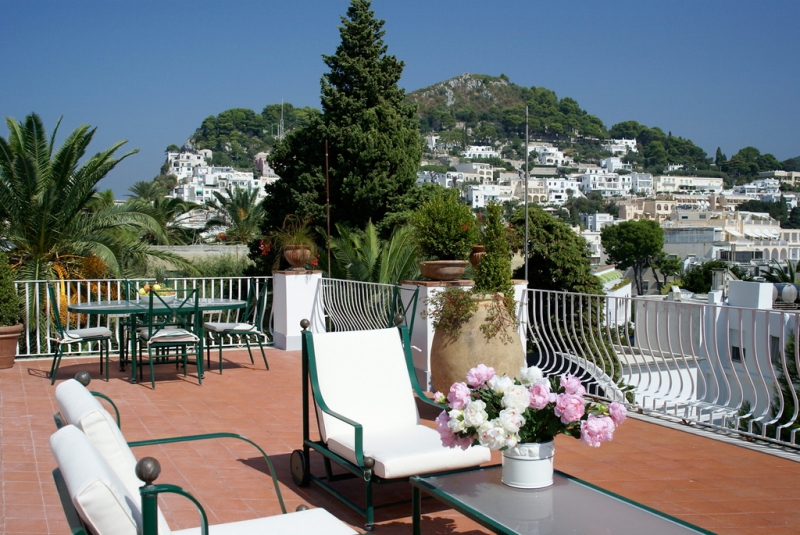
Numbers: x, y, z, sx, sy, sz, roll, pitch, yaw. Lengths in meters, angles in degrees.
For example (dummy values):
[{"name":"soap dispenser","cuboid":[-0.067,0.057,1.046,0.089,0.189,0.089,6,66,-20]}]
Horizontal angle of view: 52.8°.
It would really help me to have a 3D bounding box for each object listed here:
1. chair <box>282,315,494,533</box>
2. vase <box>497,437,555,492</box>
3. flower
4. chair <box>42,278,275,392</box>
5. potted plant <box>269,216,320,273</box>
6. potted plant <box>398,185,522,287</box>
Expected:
[{"name":"chair","cuboid":[-0.082,1.447,7.922,1.410,1.852,1.989,-3,7,-31]},{"name":"vase","cuboid":[1.061,1.619,6.726,0.445,0.370,0.469,1,2,-19]},{"name":"flower","cuboid":[0.981,1.181,6.528,0.913,0.459,0.945,1,-4,26]},{"name":"chair","cuboid":[-3.270,0.861,11.039,2.772,0.920,1.787,-3,2,-17]},{"name":"potted plant","cuboid":[-1.680,-0.329,13.103,0.675,0.825,0.677,4,-16,-33]},{"name":"potted plant","cuboid":[1.054,-0.551,10.706,1.403,1.577,1.153,0,-4,-16]}]
